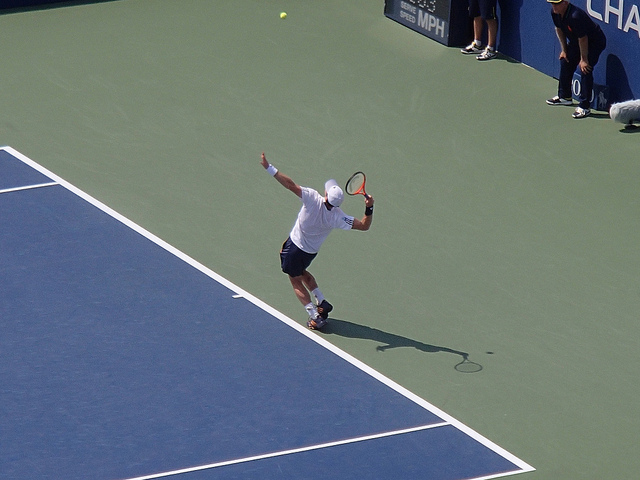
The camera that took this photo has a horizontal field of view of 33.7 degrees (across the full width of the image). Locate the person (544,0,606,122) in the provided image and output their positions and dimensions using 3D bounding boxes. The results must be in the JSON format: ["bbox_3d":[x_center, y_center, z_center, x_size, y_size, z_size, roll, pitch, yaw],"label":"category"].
[{"bbox_3d":[4.744,-3.341,19.735,1.001,2.024,1.374,27,21,35],"label":"person"}]

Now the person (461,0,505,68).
[{"bbox_3d":[3.448,-4.329,22.168,0.349,1.307,0.814,-19,48,-13],"label":"person"}]

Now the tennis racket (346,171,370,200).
[{"bbox_3d":[0.556,-0.770,14.894,0.268,0.354,0.378,28,21,35],"label":"tennis racket"}]
